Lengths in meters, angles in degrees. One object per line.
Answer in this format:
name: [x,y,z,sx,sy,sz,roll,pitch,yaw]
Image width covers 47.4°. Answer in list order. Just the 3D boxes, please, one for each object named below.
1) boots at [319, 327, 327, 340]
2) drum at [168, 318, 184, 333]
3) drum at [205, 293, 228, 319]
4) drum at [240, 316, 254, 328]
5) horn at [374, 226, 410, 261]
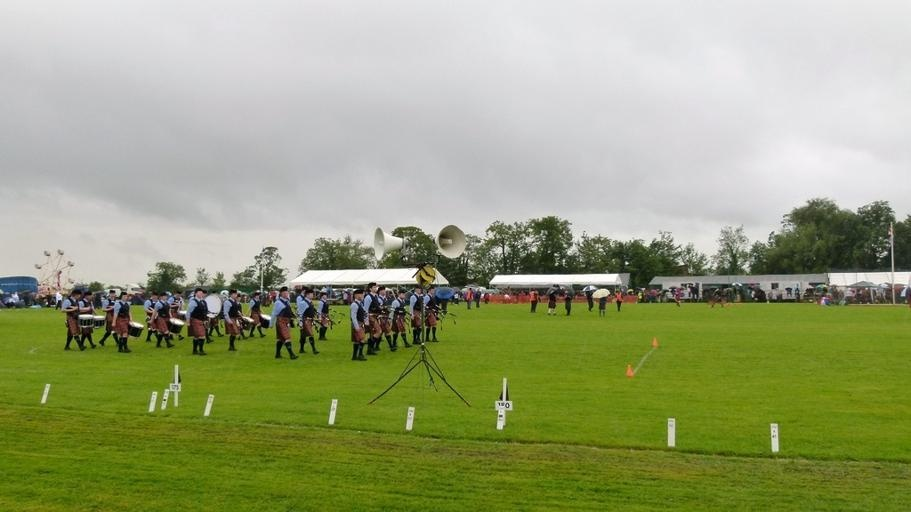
boots: [-6.666,3.811,51.478,0.497,0.674,0.696,-1,1,17]
drum: [-12.991,3.188,48.415,0.736,0.662,0.524,16,-53,-38]
drum: [-11.441,2.361,49.035,1.094,0.913,1.030,13,1,-7]
drum: [-10.122,3.149,50.232,0.518,0.463,0.680,3,-8,-18]
horn: [-2.518,-0.505,42.061,1.463,0.999,1.008,0,-12,-22]
